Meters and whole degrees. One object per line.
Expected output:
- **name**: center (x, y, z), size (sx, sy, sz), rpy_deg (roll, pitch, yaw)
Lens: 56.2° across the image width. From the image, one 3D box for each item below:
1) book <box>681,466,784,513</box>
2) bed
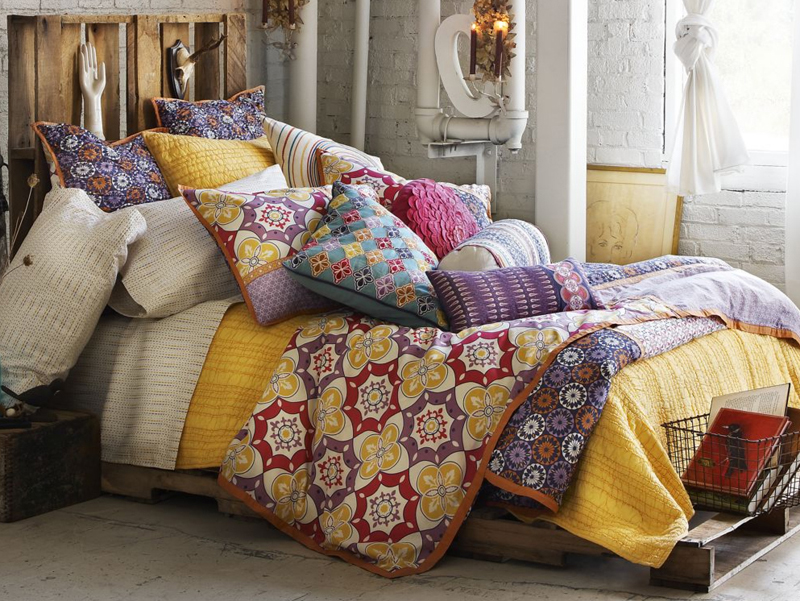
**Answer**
- **book**: center (0.952, 0.537, 2.062), size (0.186, 0.033, 0.168), rpy_deg (5, 9, 15)
- **bed**: center (0.165, 0.289, 2.319), size (1.391, 0.292, 1.344), rpy_deg (5, 6, 33)
